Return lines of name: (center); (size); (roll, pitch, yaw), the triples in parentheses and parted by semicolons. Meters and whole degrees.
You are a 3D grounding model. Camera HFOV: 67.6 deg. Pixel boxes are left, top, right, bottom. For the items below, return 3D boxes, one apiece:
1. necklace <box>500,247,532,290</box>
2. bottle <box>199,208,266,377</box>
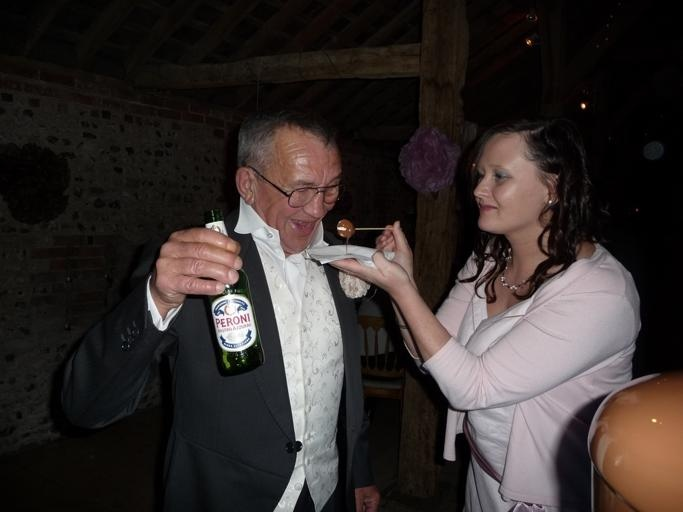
necklace: (0.868, 0.087, 2.618); (0.042, 0.179, 0.097); (15, -12, -37)
bottle: (-0.436, 0.177, 2.127); (0.224, 0.739, 0.317); (-2, 12, -13)
